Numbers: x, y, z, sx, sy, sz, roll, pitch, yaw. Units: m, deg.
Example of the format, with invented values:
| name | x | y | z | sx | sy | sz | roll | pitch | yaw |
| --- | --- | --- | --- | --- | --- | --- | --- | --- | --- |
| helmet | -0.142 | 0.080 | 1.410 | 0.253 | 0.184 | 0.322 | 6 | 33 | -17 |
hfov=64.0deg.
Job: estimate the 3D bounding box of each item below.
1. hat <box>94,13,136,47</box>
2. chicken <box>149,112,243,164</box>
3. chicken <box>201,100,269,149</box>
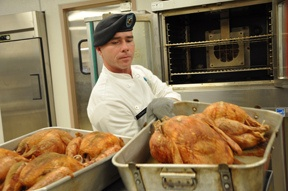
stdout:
| name | x | y | z | sx | sy | sz | roll | pitch | yaw |
| --- | --- | --- | --- | --- | --- | --- | --- | --- | --- |
| hat | -0.197 | -0.467 | 1.659 | 0.192 | 0.150 | 0.268 | -12 | 17 | 30 |
| chicken | 0.168 | 0.160 | 0.794 | 0.195 | 0.108 | 0.224 | -11 | 18 | -32 |
| chicken | 0.396 | 0.120 | 1.017 | 0.281 | 0.142 | 0.213 | 21 | 30 | 35 |
